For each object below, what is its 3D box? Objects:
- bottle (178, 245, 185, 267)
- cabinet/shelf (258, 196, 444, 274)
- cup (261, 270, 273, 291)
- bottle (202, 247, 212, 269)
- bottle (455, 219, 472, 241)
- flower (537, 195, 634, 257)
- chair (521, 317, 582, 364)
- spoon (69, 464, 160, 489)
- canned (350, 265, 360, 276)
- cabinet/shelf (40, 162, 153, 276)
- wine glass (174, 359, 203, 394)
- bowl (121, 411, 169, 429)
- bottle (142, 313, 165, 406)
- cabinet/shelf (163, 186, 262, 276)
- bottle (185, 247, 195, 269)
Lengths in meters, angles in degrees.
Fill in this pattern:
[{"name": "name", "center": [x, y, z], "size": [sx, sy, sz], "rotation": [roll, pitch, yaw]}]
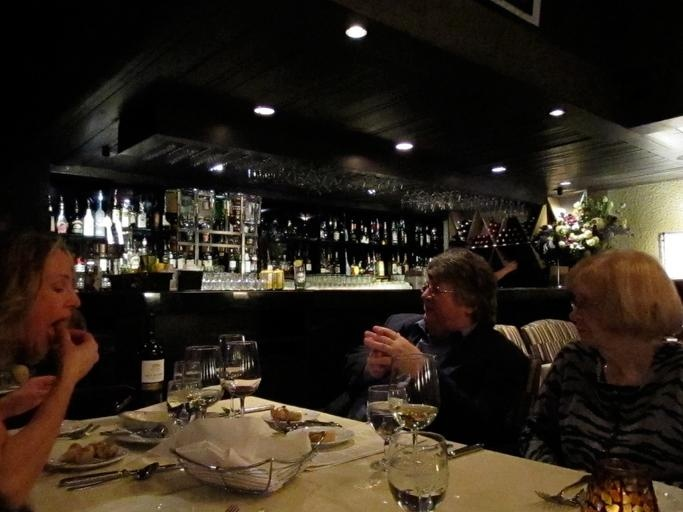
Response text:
[{"name": "bottle", "center": [-1.761, -0.017, 6.242], "size": [0.079, 0.252, 0.326], "rotation": [1, -3, -16]}, {"name": "cabinet/shelf", "center": [0.097, -0.212, 8.032], "size": [2.622, 0.926, 0.354], "rotation": [1, -7, 15]}, {"name": "cup", "center": [-0.637, 0.197, 4.774], "size": [0.074, 0.146, 0.270], "rotation": [1, -3, -24]}, {"name": "bottle", "center": [-1.499, 0.018, 6.361], "size": [0.122, 0.265, 0.578], "rotation": [1, -3, -13]}, {"name": "bottle", "center": [1.565, -0.342, 7.327], "size": [0.209, 0.268, 0.278], "rotation": [4, -7, 0]}, {"name": "flower", "center": [2.548, -0.286, 6.162], "size": [0.740, 0.567, 0.920], "rotation": [-8, 12, -33]}, {"name": "chair", "center": [1.257, 0.492, 3.493], "size": [0.343, 0.161, 0.451], "rotation": [-1, 1, -17]}, {"name": "spoon", "center": [-0.599, 0.579, 1.491], "size": [0.183, 0.031, 0.038], "rotation": [-1, 1, -24]}, {"name": "canned", "center": [0.201, 0.187, 7.748], "size": [0.104, 0.116, 0.105], "rotation": [2, 2, 31]}, {"name": "cabinet/shelf", "center": [-2.608, -0.267, 6.171], "size": [0.425, 1.154, 1.301], "rotation": [4, 1, 35]}, {"name": "wine glass", "center": [-0.472, 0.368, 1.747], "size": [0.092, 0.090, 0.092], "rotation": [3, -5, -8]}, {"name": "bowl", "center": [-0.655, 0.545, 1.910], "size": [0.092, 0.023, 0.071], "rotation": [4, 3, -34]}, {"name": "bottle", "center": [-0.772, 0.427, 2.329], "size": [0.085, 0.368, 0.297], "rotation": [1, -3, -18]}, {"name": "cabinet/shelf", "center": [-1.495, -0.256, 6.696], "size": [0.389, 1.040, 1.152], "rotation": [0, 0, 38]}, {"name": "bottle", "center": [-1.684, -0.008, 6.313], "size": [0.080, 0.206, 0.277], "rotation": [1, -3, -15]}]
